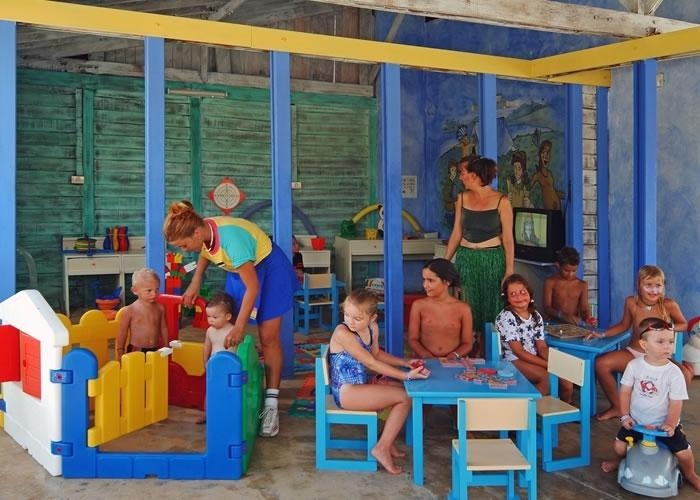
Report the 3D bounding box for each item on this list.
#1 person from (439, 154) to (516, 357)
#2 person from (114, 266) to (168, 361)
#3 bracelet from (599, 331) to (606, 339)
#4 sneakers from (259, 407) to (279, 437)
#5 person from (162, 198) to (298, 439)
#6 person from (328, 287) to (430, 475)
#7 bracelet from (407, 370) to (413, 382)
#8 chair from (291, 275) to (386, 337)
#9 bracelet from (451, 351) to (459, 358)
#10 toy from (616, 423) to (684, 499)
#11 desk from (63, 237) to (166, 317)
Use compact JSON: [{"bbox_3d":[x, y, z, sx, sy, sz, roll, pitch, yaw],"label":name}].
[{"bbox_3d":[1.257,0.015,7.599,0.665,1.933,0.436,-5,36,1],"label":"person"},{"bbox_3d":[-1.838,0.537,7.080,0.444,0.752,0.370,-5,5,-15],"label":"person"},{"bbox_3d":[2.199,0.728,7.048,0.047,0.013,0.050,1,28,35],"label":"bracelet"},{"bbox_3d":[-0.665,1.406,6.697,0.173,0.229,0.109,-6,6,-24],"label":"sneakers"},{"bbox_3d":[-0.956,0.542,6.764,1.117,1.965,0.765,-5,6,-20],"label":"person"},{"bbox_3d":[0.204,0.993,6.335,0.753,1.393,0.380,-3,5,6],"label":"person"},{"bbox_3d":[0.455,0.949,6.152,0.021,0.057,0.040,5,13,-39],"label":"bracelet"},{"bbox_3d":[-0.320,0.630,9.944,0.856,0.780,0.743,-2,7,-16],"label":"chair"},{"bbox_3d":[0.887,0.868,6.783,0.040,0.033,0.041,-4,7,-25],"label":"bracelet"},{"bbox_3d":[2.211,1.579,6.022,0.344,0.344,0.547,-1,1,29],"label":"toy"},{"bbox_3d":[-2.732,0.293,9.260,0.927,0.918,0.322,-2,3,-28],"label":"desk"}]
